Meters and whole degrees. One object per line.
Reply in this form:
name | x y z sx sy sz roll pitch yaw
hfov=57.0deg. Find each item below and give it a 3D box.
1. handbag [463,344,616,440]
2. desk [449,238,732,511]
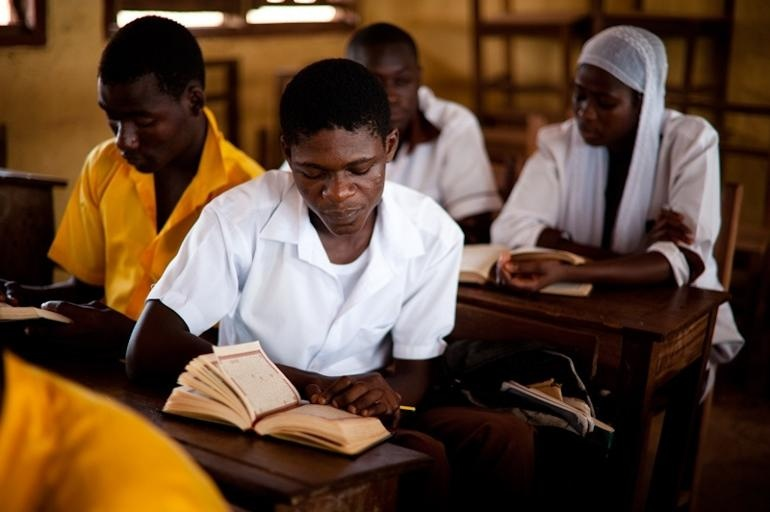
handbag | 0.497 0.362 2.258 0.388 0.147 0.296 16 4 21
desk | 0.698 0.196 2.742 1.048 1.019 0.792 13 22 35
